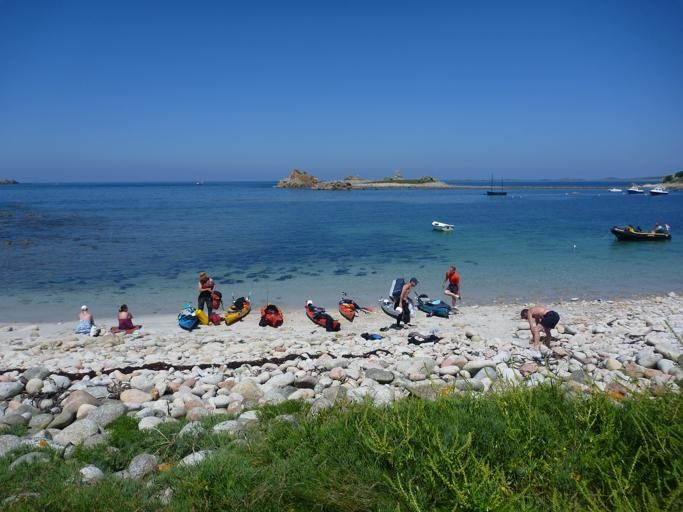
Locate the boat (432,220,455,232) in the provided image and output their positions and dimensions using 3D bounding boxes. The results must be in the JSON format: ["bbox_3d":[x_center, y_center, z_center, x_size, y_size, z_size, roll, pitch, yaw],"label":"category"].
[{"bbox_3d":[11.224,-3.427,55.229,2.644,0.732,1.661,3,3,13],"label":"boat"}]

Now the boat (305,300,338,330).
[{"bbox_3d":[-0.869,2.558,21.036,0.661,0.411,2.021,-23,22,-20],"label":"boat"}]

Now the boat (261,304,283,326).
[{"bbox_3d":[-3.005,2.562,21.279,0.868,0.292,1.001,1,20,-7],"label":"boat"}]

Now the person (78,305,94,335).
[{"bbox_3d":[-10.256,2.532,19.770,0.635,1.059,1.234,-5,5,-28],"label":"person"}]

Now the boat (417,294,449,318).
[{"bbox_3d":[4.223,2.329,22.460,1.261,0.630,2.057,-2,3,-1],"label":"boat"}]

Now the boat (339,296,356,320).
[{"bbox_3d":[0.280,2.382,22.126,0.475,0.406,1.202,-10,20,-10],"label":"boat"}]

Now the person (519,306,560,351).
[{"bbox_3d":[6.429,2.287,16.098,1.002,1.297,1.709,-1,4,17],"label":"person"}]

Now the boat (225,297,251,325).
[{"bbox_3d":[-4.677,2.499,22.233,0.633,0.459,1.632,14,14,3],"label":"boat"}]

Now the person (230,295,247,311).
[{"bbox_3d":[-4.680,2.276,22.866,0.664,0.278,0.770,-2,24,13],"label":"person"}]

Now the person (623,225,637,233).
[{"bbox_3d":[24.997,-2.308,43.135,1.600,0.652,0.854,-5,5,-41],"label":"person"}]

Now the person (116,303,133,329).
[{"bbox_3d":[-9.041,2.495,20.697,0.607,0.953,1.708,-5,4,-23],"label":"person"}]
